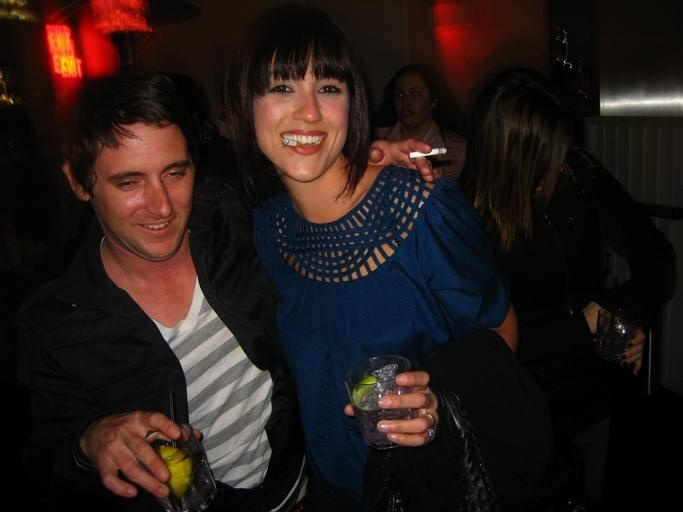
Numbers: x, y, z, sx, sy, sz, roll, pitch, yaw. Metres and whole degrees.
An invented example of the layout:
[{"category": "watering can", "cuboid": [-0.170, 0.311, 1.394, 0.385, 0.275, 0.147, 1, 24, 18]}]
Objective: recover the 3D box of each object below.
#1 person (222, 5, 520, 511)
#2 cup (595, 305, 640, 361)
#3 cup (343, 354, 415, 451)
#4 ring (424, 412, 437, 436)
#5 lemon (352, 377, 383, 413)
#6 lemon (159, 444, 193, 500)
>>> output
[{"category": "person", "cuboid": [0.101, -0.007, 2.700, 1.153, 2.082, 0.804, -4, 19, 6]}, {"category": "cup", "cuboid": [1.404, 0.376, 3.200, 0.177, 0.279, 0.101, -1, 4, 19]}, {"category": "cup", "cuboid": [0.146, 0.551, 2.485, 0.299, 0.369, 0.320, -8, 14, 2]}, {"category": "ring", "cuboid": [0.351, 0.637, 2.376, 0.028, 0.056, 0.076, -11, 52, -2]}, {"category": "lemon", "cuboid": [0.097, 0.520, 2.366, 0.101, 0.093, 0.117, -2, 2, -2]}, {"category": "lemon", "cuboid": [-0.656, 0.843, 2.478, 0.066, 0.190, 0.132, -19, 15, -28]}]
